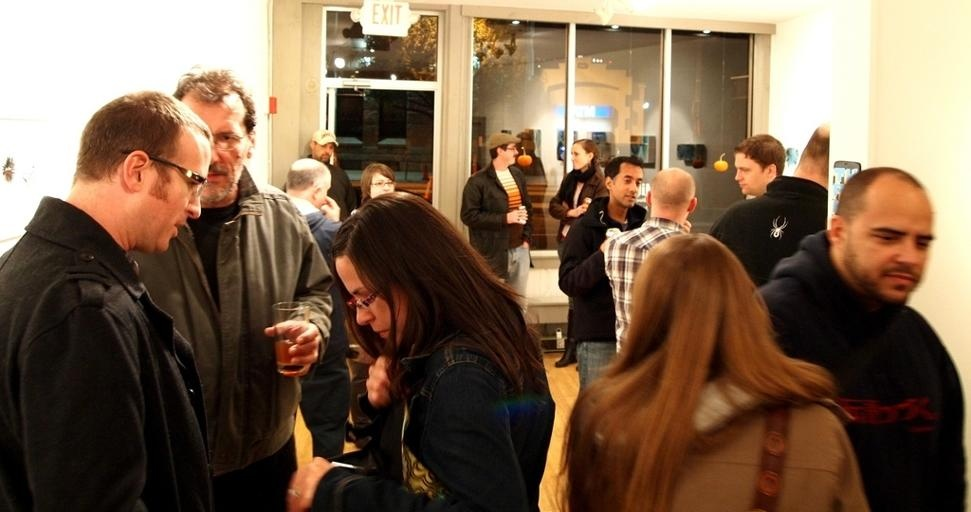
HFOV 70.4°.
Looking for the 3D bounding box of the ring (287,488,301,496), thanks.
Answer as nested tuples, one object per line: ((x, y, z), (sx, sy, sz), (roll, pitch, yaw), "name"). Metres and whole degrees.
((-0.667, 0.823, 2.398), (0.037, 0.012, 0.027), (19, -10, -43), "ring")

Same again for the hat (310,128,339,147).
((-1.656, -1.206, 7.028), (0.188, 0.110, 0.259), (0, 1, -25), "hat")

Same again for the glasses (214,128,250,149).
((-1.073, -0.501, 2.941), (0.051, 0.068, 0.168), (7, 12, 32), "glasses")
